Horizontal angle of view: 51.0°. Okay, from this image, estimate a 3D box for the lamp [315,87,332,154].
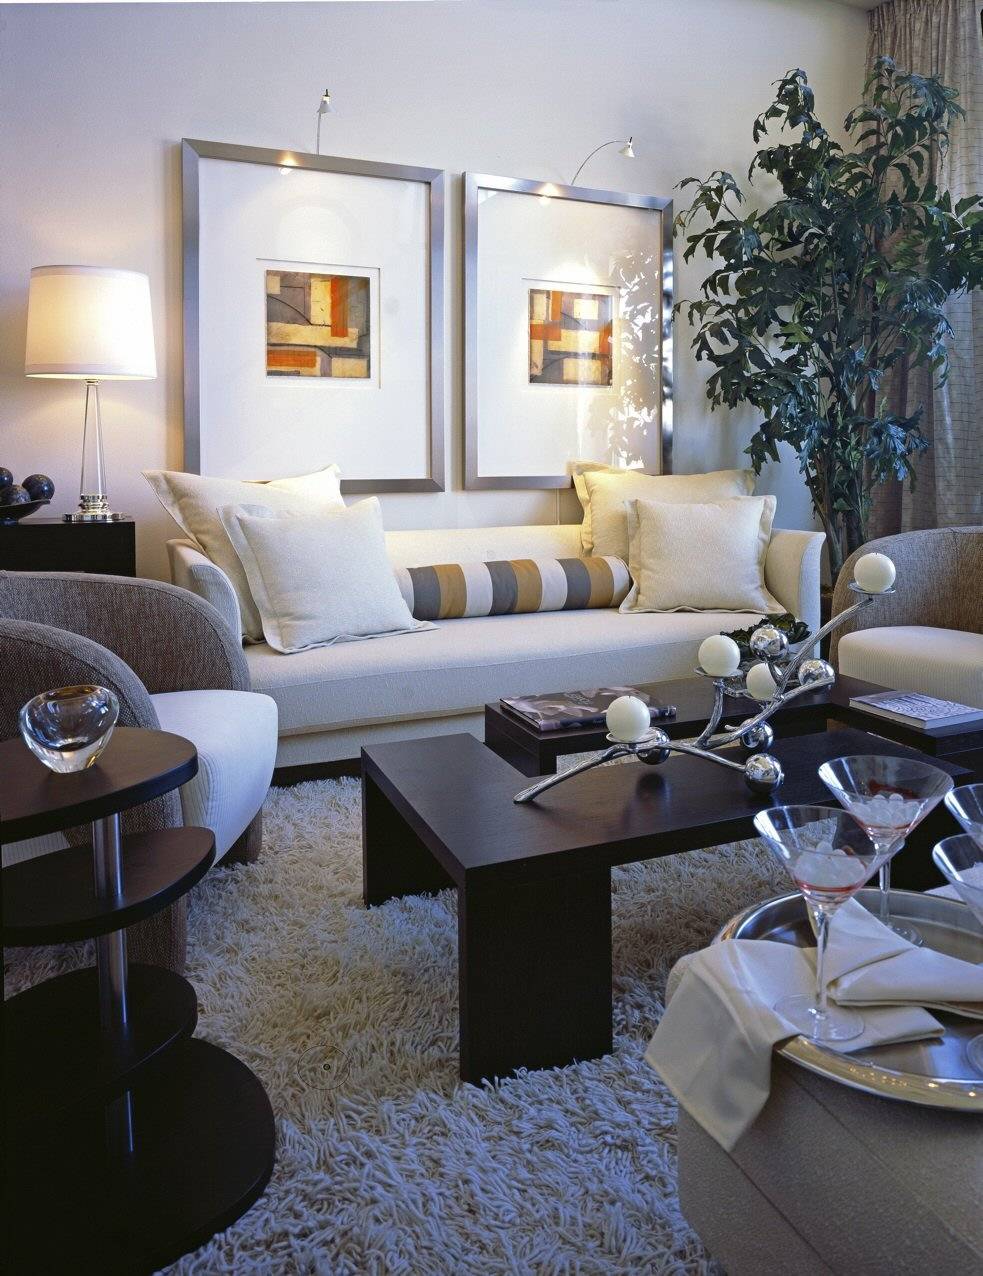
[{"bbox_3d":[-0.558,-1.699,3.381,0.041,0.209,0.066,2,10,14],"label":"lamp"}]

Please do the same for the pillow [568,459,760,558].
[{"bbox_3d":[0.576,-0.438,3.586,0.385,0.268,0.126,1,-21,-10],"label":"pillow"}]

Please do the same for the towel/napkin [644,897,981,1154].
[{"bbox_3d":[0.279,0.316,0.881,0.227,0.096,0.224,-3,11,-10],"label":"towel/napkin"}]

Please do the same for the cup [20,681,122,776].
[{"bbox_3d":[-0.456,0.087,1.120,0.085,0.069,0.091,-2,16,1],"label":"cup"}]

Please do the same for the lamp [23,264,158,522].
[{"bbox_3d":[-1.168,-0.695,3.010,0.335,0.690,0.401,-5,10,-24],"label":"lamp"}]

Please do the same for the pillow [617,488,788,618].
[{"bbox_3d":[0.684,-0.264,3.434,0.406,0.377,0.157,1,-15,0],"label":"pillow"}]

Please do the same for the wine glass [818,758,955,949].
[{"bbox_3d":[0.384,0.193,1.029,0.142,0.176,0.152,3,8,28],"label":"wine glass"}]

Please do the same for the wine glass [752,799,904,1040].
[{"bbox_3d":[0.283,0.238,0.898,0.142,0.175,0.147,-2,8,-9],"label":"wine glass"}]
